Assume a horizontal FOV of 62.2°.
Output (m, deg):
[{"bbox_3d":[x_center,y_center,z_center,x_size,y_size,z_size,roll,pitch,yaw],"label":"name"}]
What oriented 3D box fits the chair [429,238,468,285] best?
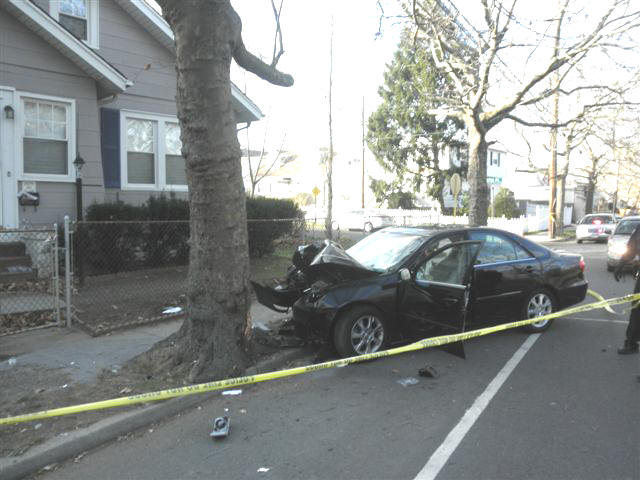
[{"bbox_3d":[2.044,0.361,8.583,0.658,0.845,0.493,-1,8,-15],"label":"chair"}]
